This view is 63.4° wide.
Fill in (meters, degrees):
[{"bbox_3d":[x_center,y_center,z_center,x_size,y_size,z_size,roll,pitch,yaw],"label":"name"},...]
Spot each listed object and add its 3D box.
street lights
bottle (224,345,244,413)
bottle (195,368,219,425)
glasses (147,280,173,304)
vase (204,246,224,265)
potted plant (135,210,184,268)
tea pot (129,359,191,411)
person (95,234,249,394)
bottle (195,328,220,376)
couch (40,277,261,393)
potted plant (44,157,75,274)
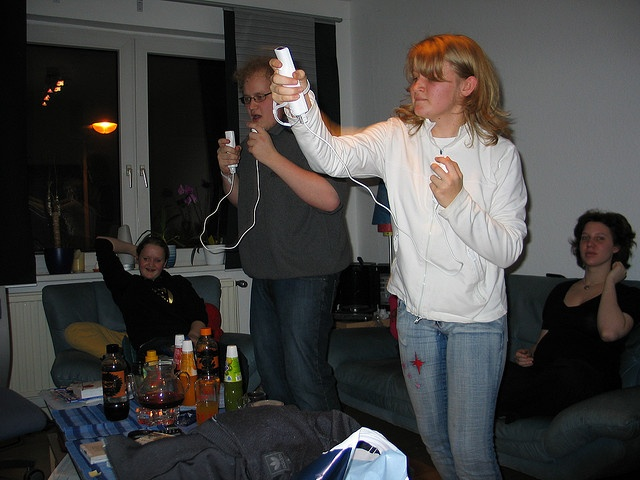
[{"bbox_3d":[-1.688,-0.459,3.991,0.098,0.939,0.327,6,12,41],"label":"street lights"},{"bbox_3d":[-0.343,0.548,2.050,0.068,0.244,0.082,-4,9,-11],"label":"bottle"},{"bbox_3d":[-0.437,0.605,2.008,0.063,0.121,0.117,1,0,-16],"label":"bottle"},{"bbox_3d":[-0.977,0.328,3.214,0.120,0.041,0.130,30,29,-27],"label":"glasses"},{"bbox_3d":[-0.827,0.135,4.024,0.204,0.170,0.203,0,1,6],"label":"vase"},{"bbox_3d":[-1.186,0.051,3.946,0.244,0.317,0.227,0,-4,-28],"label":"potted plant"},{"bbox_3d":[-0.610,0.566,1.986,0.248,0.155,0.258,2,-1,0],"label":"tea pot"},{"bbox_3d":[-0.877,0.515,3.181,0.632,1.173,0.544,-14,-3,21],"label":"person"},{"bbox_3d":[-0.499,0.453,2.226,0.089,0.258,0.092,6,49,-7],"label":"bottle"},{"bbox_3d":[-1.110,0.725,3.349,1.207,0.877,0.664,-1,4,-35],"label":"couch"},{"bbox_3d":[-1.877,-0.150,3.710,0.189,0.792,0.191,-4,1,-10],"label":"potted plant"}]
